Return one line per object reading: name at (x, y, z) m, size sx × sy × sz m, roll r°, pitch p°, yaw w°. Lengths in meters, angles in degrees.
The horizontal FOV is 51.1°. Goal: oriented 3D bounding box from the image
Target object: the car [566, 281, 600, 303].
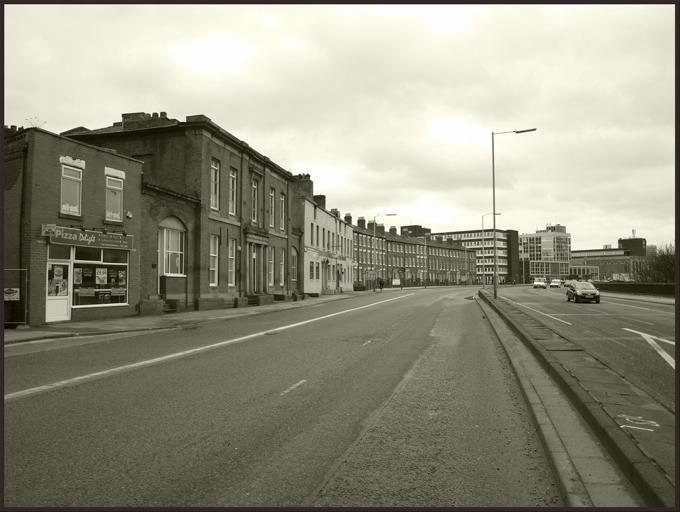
car at (14.415, 2.155, 42.289) m, size 1.016 × 0.959 × 2.454 m, roll -1°, pitch -12°, yaw 6°
